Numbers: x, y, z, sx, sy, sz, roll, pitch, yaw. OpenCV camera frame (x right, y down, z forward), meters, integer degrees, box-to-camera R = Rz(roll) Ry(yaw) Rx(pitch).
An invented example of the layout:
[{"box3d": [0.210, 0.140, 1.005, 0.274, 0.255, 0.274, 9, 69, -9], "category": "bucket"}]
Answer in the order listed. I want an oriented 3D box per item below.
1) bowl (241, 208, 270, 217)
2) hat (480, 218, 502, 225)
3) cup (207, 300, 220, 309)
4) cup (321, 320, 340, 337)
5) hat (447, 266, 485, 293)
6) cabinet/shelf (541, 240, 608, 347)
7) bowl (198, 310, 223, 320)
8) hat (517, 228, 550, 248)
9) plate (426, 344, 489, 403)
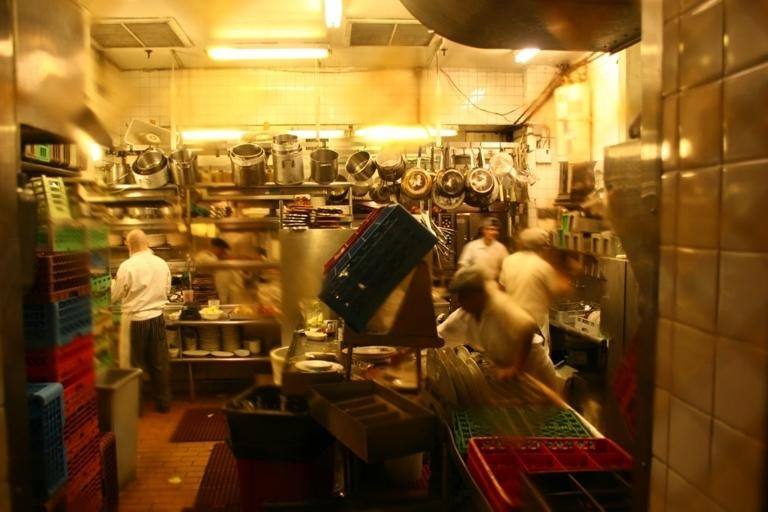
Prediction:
[{"box3d": [-1.123, -0.380, 5.109, 0.254, 0.060, 0.241, 0, 0, 0], "category": "bowl"}, {"box3d": [0.893, -0.293, 4.978, 0.117, 0.055, 0.111, 0, -5, 1], "category": "hat"}, {"box3d": [-1.488, 0.414, 5.150, 0.086, 0.058, 0.074, -4, -6, 27], "category": "cup"}, {"box3d": [-0.326, 0.459, 3.717, 0.076, 0.068, 0.132, 0, 5, -1], "category": "cup"}, {"box3d": [0.411, 0.110, 2.904, 0.185, 0.128, 0.136, 0, 8, 13], "category": "hat"}, {"box3d": [1.274, 0.241, 3.928, 0.466, 0.563, 0.867, 1, -1, 1], "category": "cabinet/shelf"}, {"box3d": [-1.481, 0.497, 5.056, 0.196, 0.066, 0.097, -3, 8, -13], "category": "bowl"}, {"box3d": [0.889, -0.112, 3.516, 0.127, 0.047, 0.138, 3, 29, 15], "category": "hat"}, {"box3d": [0.293, 0.490, 2.465, 0.167, 0.091, 0.264, -2, 3, -6], "category": "plate"}]
